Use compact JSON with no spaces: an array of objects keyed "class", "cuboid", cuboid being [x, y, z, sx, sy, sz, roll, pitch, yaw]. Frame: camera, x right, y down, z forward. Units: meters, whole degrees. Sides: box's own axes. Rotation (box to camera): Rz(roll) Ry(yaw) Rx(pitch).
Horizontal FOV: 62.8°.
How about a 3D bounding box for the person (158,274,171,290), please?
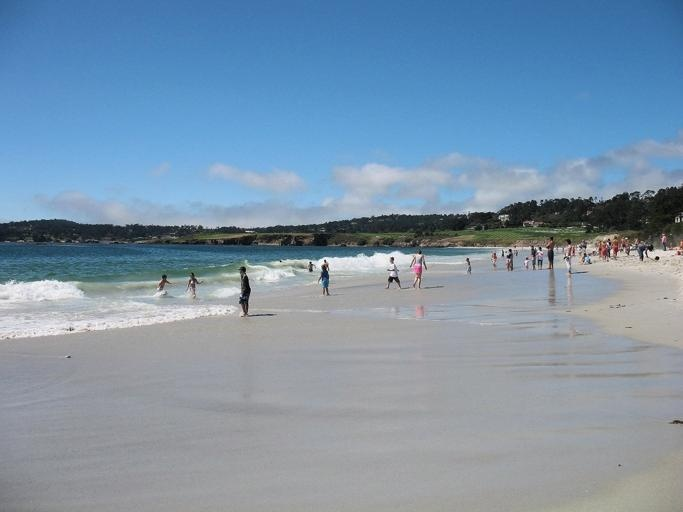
[{"class":"person","cuboid":[-8.938,1.345,28.438,0.268,0.753,0.788,13,6,-8]}]
